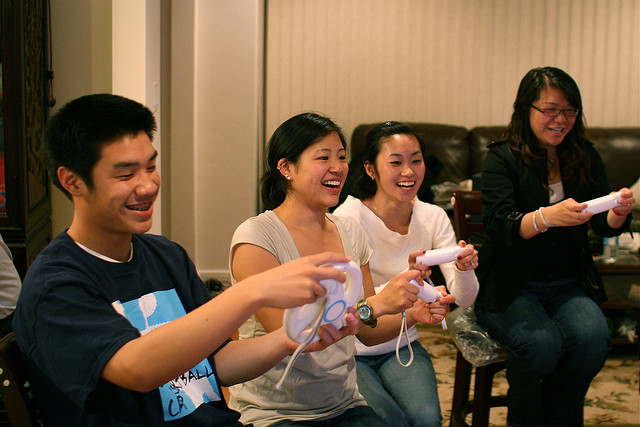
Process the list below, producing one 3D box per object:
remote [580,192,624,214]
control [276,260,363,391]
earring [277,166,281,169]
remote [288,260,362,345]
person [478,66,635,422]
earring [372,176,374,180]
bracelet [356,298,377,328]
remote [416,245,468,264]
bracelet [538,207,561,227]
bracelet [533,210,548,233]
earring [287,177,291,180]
[{"bbox_3d":[1.231,-0.041,2.264,0.124,0.031,0.109,-12,4,0],"label":"remote"},{"bbox_3d":[0.002,0.313,1.535,0.294,0.398,0.061,-17,38,-37],"label":"control"},{"bbox_3d":[-0.163,-0.181,2.081,0.004,0.010,0.026,-9,5,-29],"label":"earring"},{"bbox_3d":[0.020,0.268,1.521,0.281,0.294,0.047,-17,40,-35],"label":"remote"},{"bbox_3d":[1.114,0.116,2.451,0.753,1.615,0.522,-6,5,7],"label":"person"},{"bbox_3d":[0.264,-0.175,2.570,0.005,0.015,0.015,1,-33,-8],"label":"earring"},{"bbox_3d":[0.159,0.335,1.822,0.055,0.082,0.084,-9,-6,8],"label":"bracelet"},{"bbox_3d":[0.479,0.154,1.961,0.296,0.051,0.040,-9,5,-37],"label":"remote"},{"bbox_3d":[1.041,0.021,2.333,0.022,0.085,0.087,-30,4,9],"label":"bracelet"},{"bbox_3d":[1.002,0.035,2.346,0.025,0.081,0.083,-13,-12,27],"label":"bracelet"},{"bbox_3d":[-0.121,-0.138,2.071,0.018,0.008,0.004,-2,6,45],"label":"earring"}]
